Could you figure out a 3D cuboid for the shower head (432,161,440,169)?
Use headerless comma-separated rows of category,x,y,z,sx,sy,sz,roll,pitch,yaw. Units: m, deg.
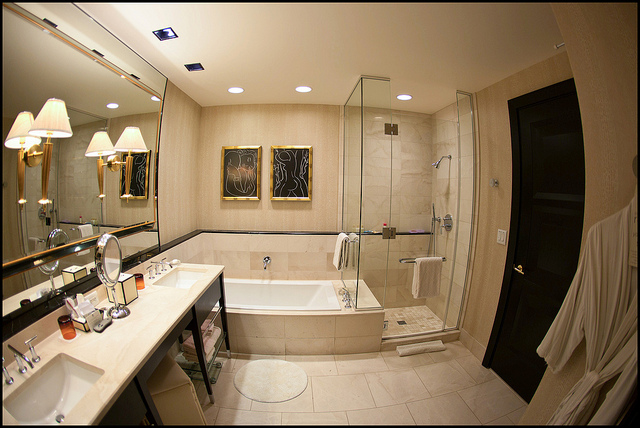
shower head,1.273,-0.543,4.174,0.025,0.083,0.095,-3,6,-21

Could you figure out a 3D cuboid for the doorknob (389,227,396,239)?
doorknob,0.699,0.180,3.657,0.059,0.113,0.025,0,6,9

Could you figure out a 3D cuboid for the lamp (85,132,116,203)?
lamp,-1.764,-0.390,3.069,0.051,0.560,0.227,1,6,18

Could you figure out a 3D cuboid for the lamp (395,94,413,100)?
lamp,0.885,-1.240,3.970,0.173,0.027,0.103,0,5,5

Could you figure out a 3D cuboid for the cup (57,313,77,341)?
cup,-1.826,0.828,2.747,0.101,0.176,0.063,-6,8,-40

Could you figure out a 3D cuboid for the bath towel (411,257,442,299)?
bath towel,1.095,0.654,3.933,0.443,0.535,0.124,-1,4,-17

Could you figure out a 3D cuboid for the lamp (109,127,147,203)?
lamp,-1.687,-0.432,3.324,0.314,0.627,0.285,3,3,-21

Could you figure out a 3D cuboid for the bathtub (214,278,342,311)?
bathtub,-0.461,0.939,4.135,1.338,0.307,0.757,-1,5,1

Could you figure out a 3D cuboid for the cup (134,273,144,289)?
cup,-1.517,0.564,3.186,0.110,0.121,0.108,-2,-5,0

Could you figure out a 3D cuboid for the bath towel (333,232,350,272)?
bath towel,0.240,0.418,4.182,0.189,0.436,0.467,2,-2,-2

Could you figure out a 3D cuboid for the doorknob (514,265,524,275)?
doorknob,1.796,0.498,3.425,0.020,0.070,0.069,-4,6,-29
